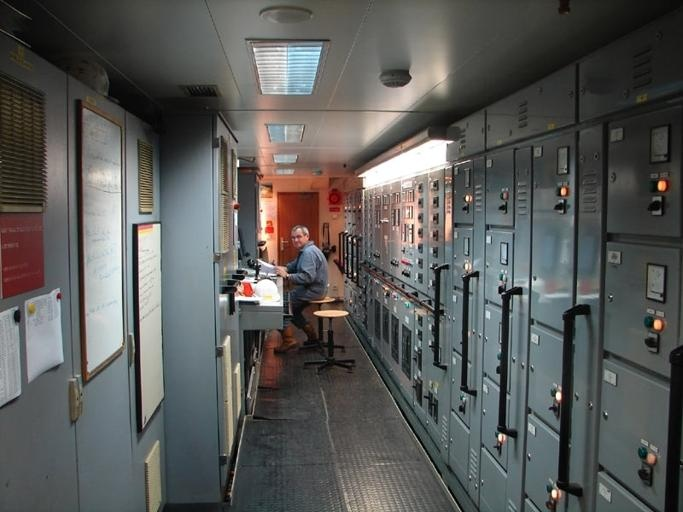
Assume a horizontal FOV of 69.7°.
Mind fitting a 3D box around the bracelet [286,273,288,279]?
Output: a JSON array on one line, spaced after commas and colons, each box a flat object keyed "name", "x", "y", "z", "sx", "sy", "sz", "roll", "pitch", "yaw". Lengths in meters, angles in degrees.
[{"name": "bracelet", "x": -0.783, "y": 0.276, "z": 7.123, "sx": 0.038, "sy": 0.062, "sz": 0.103, "roll": -1, "pitch": 8, "yaw": -5}]

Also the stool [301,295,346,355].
[{"name": "stool", "x": -0.350, "y": 1.164, "z": 8.467, "sx": 0.840, "sy": 0.958, "sz": 0.782, "roll": -1, "pitch": 1, "yaw": -1}]

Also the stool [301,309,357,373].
[{"name": "stool", "x": -0.172, "y": 1.244, "z": 7.294, "sx": 0.760, "sy": 0.869, "sz": 0.830, "roll": 7, "pitch": 19, "yaw": 3}]
